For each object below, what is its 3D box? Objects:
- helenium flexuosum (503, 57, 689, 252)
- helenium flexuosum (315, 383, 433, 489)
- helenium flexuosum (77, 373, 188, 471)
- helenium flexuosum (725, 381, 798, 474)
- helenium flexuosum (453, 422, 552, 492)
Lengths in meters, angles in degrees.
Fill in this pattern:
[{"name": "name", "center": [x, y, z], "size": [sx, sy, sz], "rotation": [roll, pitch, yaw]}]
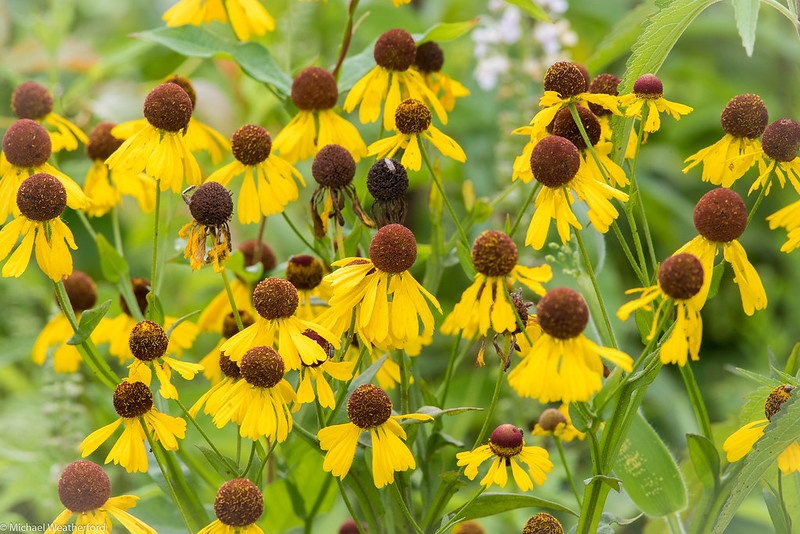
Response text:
[{"name": "helenium flexuosum", "center": [0.307, -0.178, 1.543], "size": [0.307, 0.205, 0.243], "rotation": [-39, 40, -25]}, {"name": "helenium flexuosum", "center": [-0.042, 0.272, 1.500], "size": [0.168, 0.168, 0.111], "rotation": [-8, 21, -21]}, {"name": "helenium flexuosum", "center": [-0.407, 0.233, 1.526], "size": [0.140, 0.106, 0.145], "rotation": [10, 14, 22]}, {"name": "helenium flexuosum", "center": [0.585, 0.276, 1.539], "size": [0.128, 0.046, 0.131], "rotation": [-38, -1, 34]}, {"name": "helenium flexuosum", "center": [0.173, 0.314, 1.543], "size": [0.116, 0.058, 0.121], "rotation": [14, -12, -22]}]
